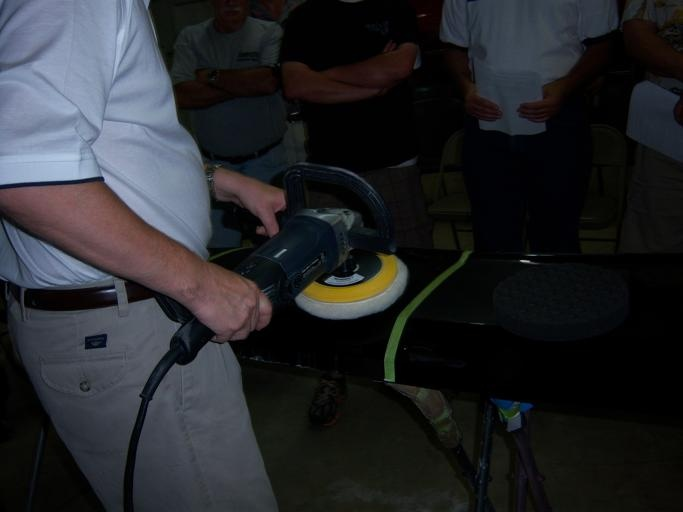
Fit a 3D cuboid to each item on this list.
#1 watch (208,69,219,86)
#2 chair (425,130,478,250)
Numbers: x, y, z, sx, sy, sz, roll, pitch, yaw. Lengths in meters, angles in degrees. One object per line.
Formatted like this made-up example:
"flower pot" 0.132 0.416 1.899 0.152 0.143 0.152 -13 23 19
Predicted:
"watch" -0.717 -0.999 3.062 0.052 0.080 0.083 21 35 11
"chair" 0.599 -0.391 2.996 0.366 0.634 0.454 5 57 14
